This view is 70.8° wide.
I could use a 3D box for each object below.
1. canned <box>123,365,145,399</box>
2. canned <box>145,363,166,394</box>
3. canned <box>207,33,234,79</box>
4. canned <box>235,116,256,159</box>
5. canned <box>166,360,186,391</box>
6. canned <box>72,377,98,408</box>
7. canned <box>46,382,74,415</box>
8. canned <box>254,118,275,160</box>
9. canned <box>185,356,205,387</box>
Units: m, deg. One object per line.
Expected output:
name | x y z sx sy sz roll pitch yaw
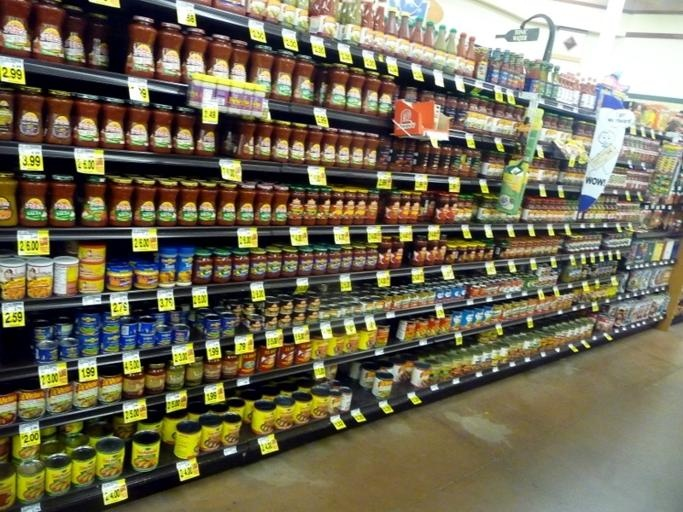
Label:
canned | -1.238 0.781 2.885 0.059 0.156 0.128 3 12 45
canned | -1.140 0.755 2.947 0.137 0.194 0.053 -9 10 -22
canned | -0.698 -1.134 2.751 0.169 0.226 0.080 -8 10 -15
canned | -0.585 -0.710 2.945 0.146 0.240 0.061 -5 10 6
canned | -1.043 0.758 3.002 0.104 0.170 0.047 -13 12 -39
canned | -1.461 0.795 2.752 0.148 0.162 0.042 -8 10 -21
canned | -1.571 0.802 2.683 0.152 0.162 0.059 -9 10 -26
canned | -0.476 -0.711 2.976 0.138 0.226 0.049 -8 10 -12
canned | -0.943 0.751 3.092 0.135 0.179 0.044 -10 10 -30
